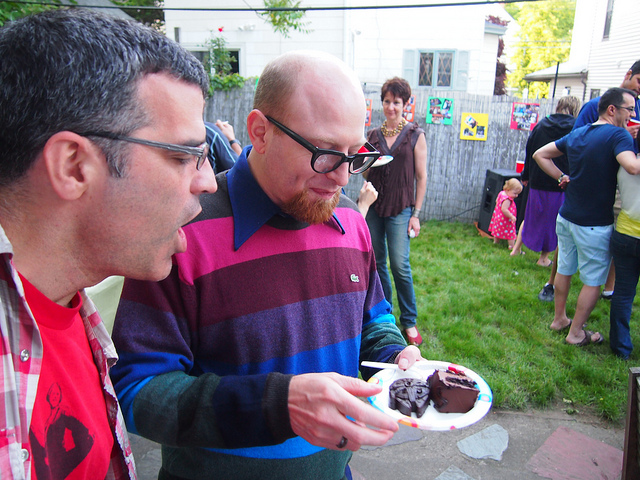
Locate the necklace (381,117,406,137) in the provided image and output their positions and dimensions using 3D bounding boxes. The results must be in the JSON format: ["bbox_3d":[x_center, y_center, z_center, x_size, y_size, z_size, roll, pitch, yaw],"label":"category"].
[{"bbox_3d":[0.809,-1.237,5.246,0.253,0.183,0.209,3,16,8],"label":"necklace"}]

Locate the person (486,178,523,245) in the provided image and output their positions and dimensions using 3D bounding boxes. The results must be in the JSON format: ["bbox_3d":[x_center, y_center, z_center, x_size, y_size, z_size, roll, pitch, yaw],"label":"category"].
[{"bbox_3d":[3.166,-0.454,8.014,0.457,1.278,0.612,-3,28,-9],"label":"person"}]

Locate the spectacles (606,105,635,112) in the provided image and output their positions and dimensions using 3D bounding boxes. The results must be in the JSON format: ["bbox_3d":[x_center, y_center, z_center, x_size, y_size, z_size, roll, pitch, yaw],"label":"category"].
[{"bbox_3d":[3.068,-1.310,4.730,0.249,0.064,0.071,-7,17,-23],"label":"spectacles"}]

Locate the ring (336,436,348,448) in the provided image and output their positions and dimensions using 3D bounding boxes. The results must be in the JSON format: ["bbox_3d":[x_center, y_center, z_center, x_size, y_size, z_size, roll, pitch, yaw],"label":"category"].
[{"bbox_3d":[0.071,0.643,1.508,0.021,0.031,0.030,28,-27,-4],"label":"ring"}]

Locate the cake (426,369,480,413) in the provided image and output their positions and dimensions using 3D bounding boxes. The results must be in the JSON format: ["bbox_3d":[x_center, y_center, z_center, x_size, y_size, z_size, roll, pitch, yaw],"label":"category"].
[{"bbox_3d":[0.558,0.646,2.003,0.224,0.154,0.141,6,16,20],"label":"cake"}]

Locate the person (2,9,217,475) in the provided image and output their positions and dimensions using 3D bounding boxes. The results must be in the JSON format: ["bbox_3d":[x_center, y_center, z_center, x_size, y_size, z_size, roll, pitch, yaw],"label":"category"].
[{"bbox_3d":[-0.707,0.094,1.512,0.704,1.550,0.363,-14,20,-43],"label":"person"}]

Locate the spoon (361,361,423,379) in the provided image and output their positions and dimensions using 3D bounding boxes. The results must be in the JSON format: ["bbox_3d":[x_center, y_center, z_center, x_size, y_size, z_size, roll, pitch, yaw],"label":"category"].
[{"bbox_3d":[0.327,0.566,2.072,0.281,0.048,0.082,8,2,10],"label":"spoon"}]
